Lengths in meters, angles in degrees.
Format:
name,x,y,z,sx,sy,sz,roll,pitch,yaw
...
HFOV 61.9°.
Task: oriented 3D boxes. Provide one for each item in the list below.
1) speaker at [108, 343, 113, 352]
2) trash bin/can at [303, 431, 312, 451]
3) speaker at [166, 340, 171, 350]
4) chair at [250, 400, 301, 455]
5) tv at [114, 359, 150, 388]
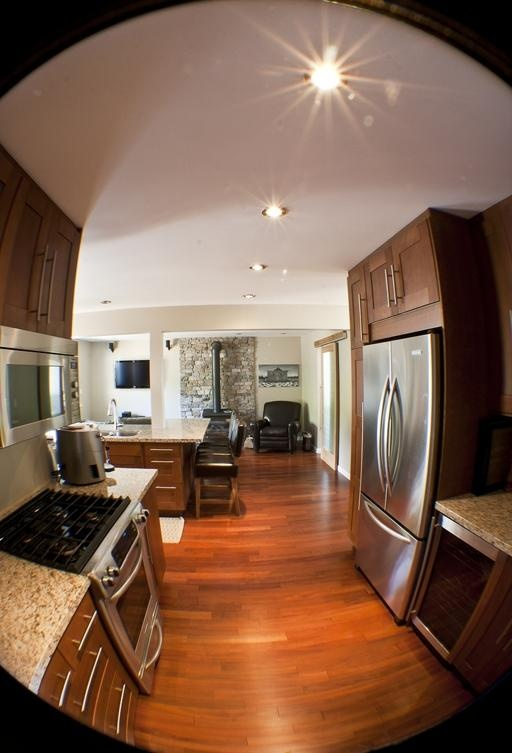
name,x,y,z,sx,sy,sz,roll,pitch,yaw
speaker,-1.497,-0.324,4.372,0.051,0.109,0.440,-1,1,-19
trash bin/can,0.694,0.869,5.670,0.139,0.294,0.189,0,-4,-4
speaker,-1.408,-0.526,6.796,0.082,0.162,0.219,-1,1,-13
chair,0.328,0.693,6.085,0.520,0.718,0.675,-2,-8,13
tv,-1.606,-0.062,5.438,0.287,0.255,0.034,-5,13,-27
